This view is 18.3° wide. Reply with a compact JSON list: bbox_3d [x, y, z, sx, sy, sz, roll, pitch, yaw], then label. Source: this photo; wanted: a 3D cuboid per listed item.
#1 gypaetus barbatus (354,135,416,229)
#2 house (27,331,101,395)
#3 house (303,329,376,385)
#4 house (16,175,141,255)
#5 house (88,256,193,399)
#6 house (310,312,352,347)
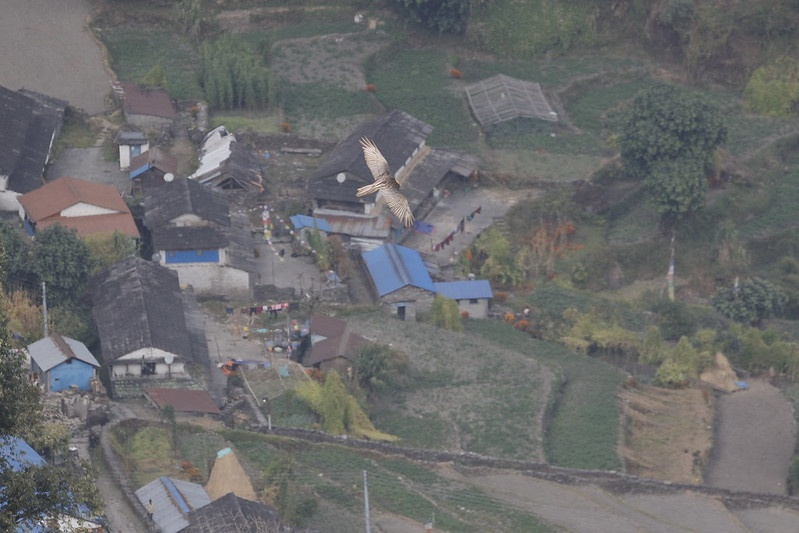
[{"bbox_3d":[-1.415,-6.920,195.741,4.121,8.301,2.266,-3,49,23],"label":"gypaetus barbatus"},{"bbox_3d":[-25.337,7.564,182.832,3.211,4.663,1.916,20,74,-33],"label":"house"},{"bbox_3d":[-4.501,6.242,190.334,4.008,1.472,5.386,26,50,23],"label":"house"},{"bbox_3d":[-26.206,-3.364,196.937,6.314,2.212,7.000,-6,36,-26],"label":"house"},{"bbox_3d":[-19.573,3.825,186.789,7.332,3.726,10.929,-1,40,-12],"label":"house"},{"bbox_3d":[-5.601,4.859,192.168,2.392,0.660,2.460,9,36,-4],"label":"house"}]
